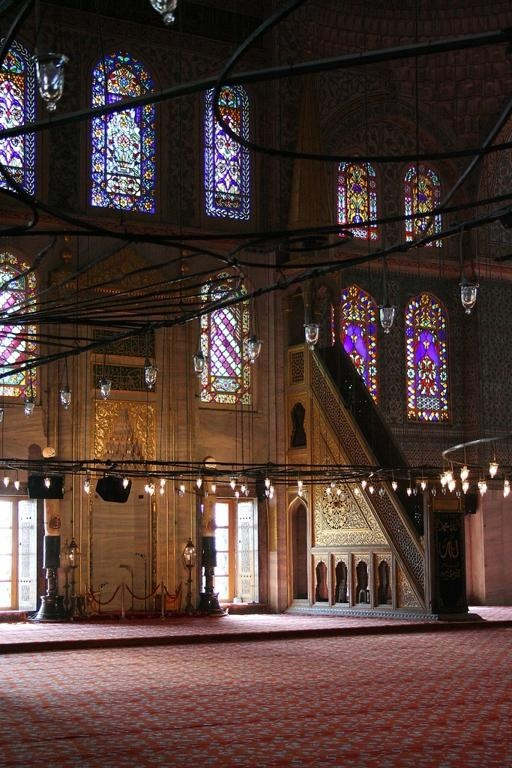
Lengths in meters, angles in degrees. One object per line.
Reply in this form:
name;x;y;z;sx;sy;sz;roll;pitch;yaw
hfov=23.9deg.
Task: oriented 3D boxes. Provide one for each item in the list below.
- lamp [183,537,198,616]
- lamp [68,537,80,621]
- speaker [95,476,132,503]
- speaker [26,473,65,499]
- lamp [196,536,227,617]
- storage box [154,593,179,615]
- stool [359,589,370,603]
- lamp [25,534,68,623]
lamp;-0.874;2.582;16.358;0.225;0.971;0.193;6;-11;-36
lamp;-2.306;2.459;15.448;0.133;0.992;0.246;0;-8;-8
speaker;-1.716;1.260;14.757;0.388;0.316;0.348;0;-8;-9
speaker;-2.547;1.255;14.863;0.506;0.346;0.272;5;-11;-27
lamp;-0.610;2.583;16.374;0.343;1.057;0.307;1;-8;-16
storage box;-1.160;2.915;16.036;0.331;0.292;0.532;0;-9;-5
stool;1.435;2.800;16.031;0.144;0.237;0.181;-6;-19;25
lamp;-2.583;2.443;15.272;0.420;1.073;0.389;-4;-8;17
